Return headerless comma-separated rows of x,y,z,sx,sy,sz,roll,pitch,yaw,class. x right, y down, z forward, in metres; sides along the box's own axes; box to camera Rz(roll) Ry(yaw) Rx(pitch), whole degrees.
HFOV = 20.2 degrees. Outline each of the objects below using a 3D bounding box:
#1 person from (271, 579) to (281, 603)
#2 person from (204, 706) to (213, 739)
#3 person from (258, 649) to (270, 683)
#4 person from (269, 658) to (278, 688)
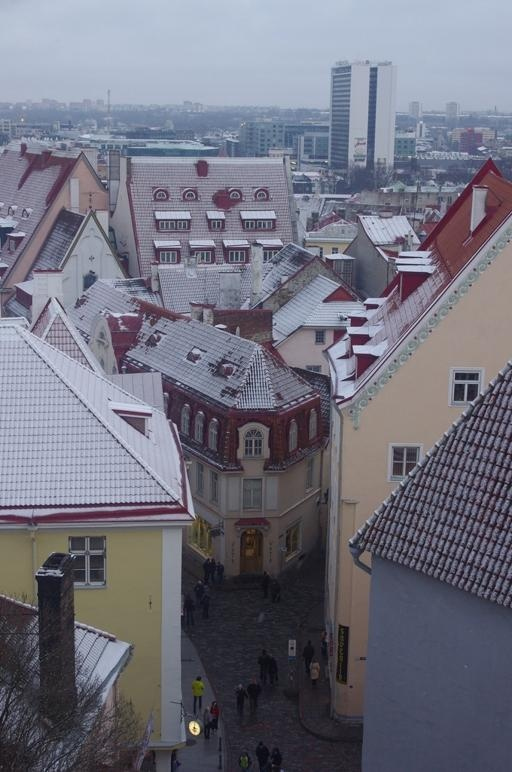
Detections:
0.796,7.524,52.886,0.303,0.894,0.743,-3,9,-1,person
-1.340,9.762,41.585,0.246,0.910,0.504,-3,9,-3,person
0.332,8.873,45.744,0.345,1.015,0.924,-3,9,-5,person
0.598,8.967,45.556,0.267,0.940,0.593,-2,9,1,person
